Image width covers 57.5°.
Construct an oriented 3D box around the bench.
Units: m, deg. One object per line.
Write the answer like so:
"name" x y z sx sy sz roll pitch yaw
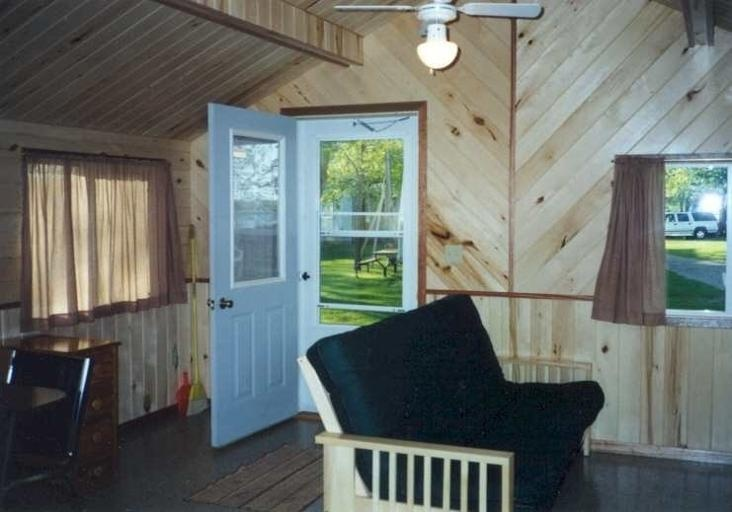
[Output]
"bench" 0.558 0.365 3.935 1.044 0.968 1.989 -2 1 27
